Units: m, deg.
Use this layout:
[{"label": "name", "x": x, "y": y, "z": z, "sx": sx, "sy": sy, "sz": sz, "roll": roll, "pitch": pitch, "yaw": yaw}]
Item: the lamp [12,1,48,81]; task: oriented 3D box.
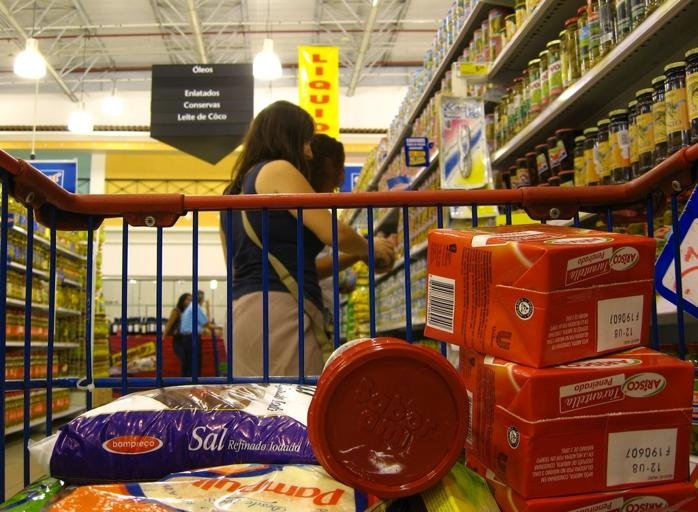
[{"label": "lamp", "x": -3.976, "y": -2.476, "z": 7.185, "sx": 0.324, "sy": 0.600, "sz": 0.448, "roll": 2, "pitch": -7, "yaw": -31}]

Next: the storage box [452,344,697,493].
[{"label": "storage box", "x": 0.536, "y": 0.309, "z": 1.345, "sx": 0.335, "sy": 0.221, "sz": 0.347, "roll": -2, "pitch": 0, "yaw": -12}]

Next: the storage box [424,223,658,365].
[{"label": "storage box", "x": 0.488, "y": 0.074, "z": 1.524, "sx": 0.560, "sy": 0.287, "sz": 0.582, "roll": 3, "pitch": 9, "yaw": 21}]
